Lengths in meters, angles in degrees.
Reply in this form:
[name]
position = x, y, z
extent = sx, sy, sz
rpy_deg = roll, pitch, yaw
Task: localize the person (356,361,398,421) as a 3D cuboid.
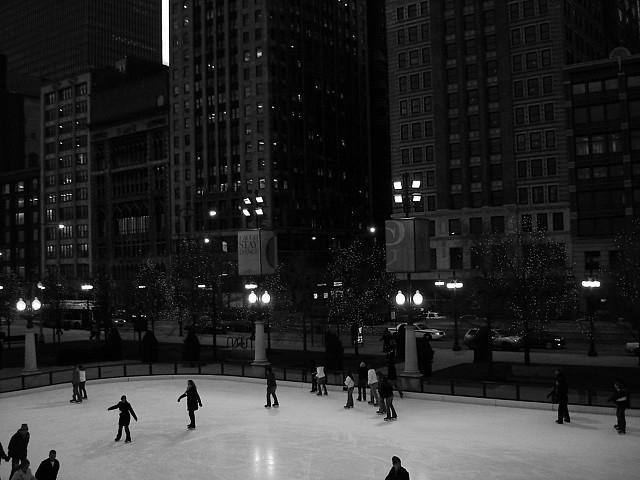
[person]
position = 3.547, 8.667, 41.684
extent = 1.144, 2.766, 1.044
rpy_deg = -3, -4, 42
